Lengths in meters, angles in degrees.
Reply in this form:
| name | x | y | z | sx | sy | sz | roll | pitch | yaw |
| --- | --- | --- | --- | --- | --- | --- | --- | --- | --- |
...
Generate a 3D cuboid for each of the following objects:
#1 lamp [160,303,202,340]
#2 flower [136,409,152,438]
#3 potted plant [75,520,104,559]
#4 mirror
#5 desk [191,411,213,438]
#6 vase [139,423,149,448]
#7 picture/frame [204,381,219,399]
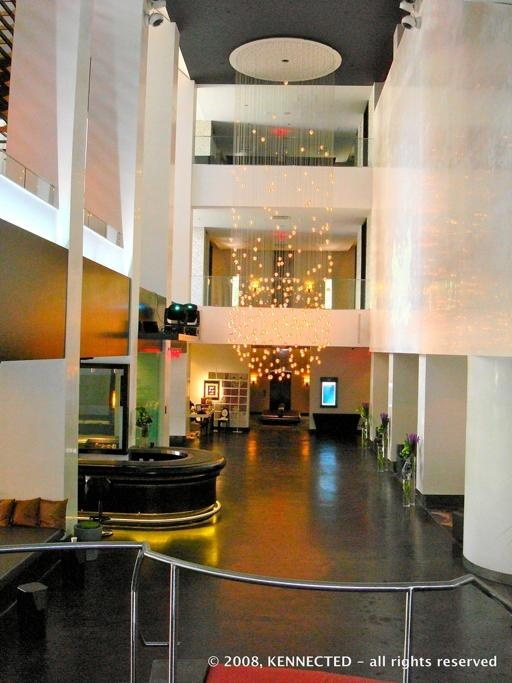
| name | x | y | z | sx | sy | sz | roll | pitch | yaw |
| --- | --- | --- | --- | --- | --- | --- | --- | --- | --- |
| lamp | -1.615 | -0.358 | 12.754 | 0.708 | 0.696 | 2.010 | 1 | -4 | -8 |
| flower | -2.287 | 1.626 | 12.109 | 0.392 | 0.804 | 0.440 | 1 | -4 | -10 |
| potted plant | -1.868 | 2.232 | 6.632 | 0.276 | 0.366 | 0.692 | 2 | -4 | -17 |
| mirror | -2.373 | 1.045 | 9.302 | 0.738 | 1.417 | 0.504 | 2 | -4 | -12 |
| desk | -1.786 | 2.704 | 19.846 | 0.751 | 0.713 | 2.736 | 1 | -4 | -5 |
| vase | -2.256 | 1.860 | 12.026 | 0.196 | 0.435 | 1.193 | 1 | -4 | -10 |
| picture/frame | -1.599 | 1.752 | 21.441 | 0.507 | 0.731 | 0.052 | 0 | -3 | 9 |
